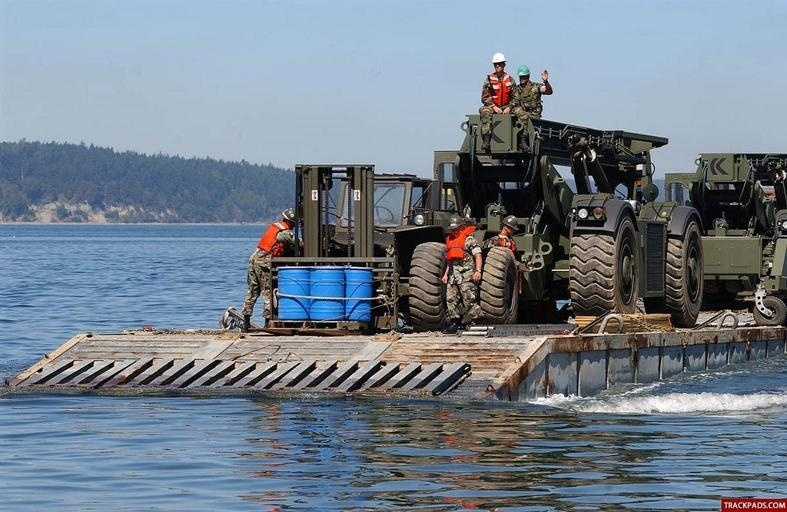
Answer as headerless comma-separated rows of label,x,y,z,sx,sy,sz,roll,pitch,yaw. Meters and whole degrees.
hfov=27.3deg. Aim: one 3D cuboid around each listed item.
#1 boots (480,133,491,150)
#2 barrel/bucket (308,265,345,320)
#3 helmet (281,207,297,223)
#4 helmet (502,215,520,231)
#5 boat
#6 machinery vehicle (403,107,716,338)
boots,1.764,-2.328,32.545,0.216,0.339,0.137,1,3,21
barrel/bucket,-1.316,0.682,30.562,0.916,0.960,0.896,0,-2,0
helmet,-2.107,-0.826,31.601,0.308,0.281,0.240,3,-2,-21
helmet,2.209,-0.653,31.869,0.344,0.203,0.254,30,16,11
boat,0.275,1.966,29.608,14.428,1.183,4.609,-1,3,-15
machinery vehicle,3.839,-0.858,35.486,4.722,3.924,8.048,4,3,26
